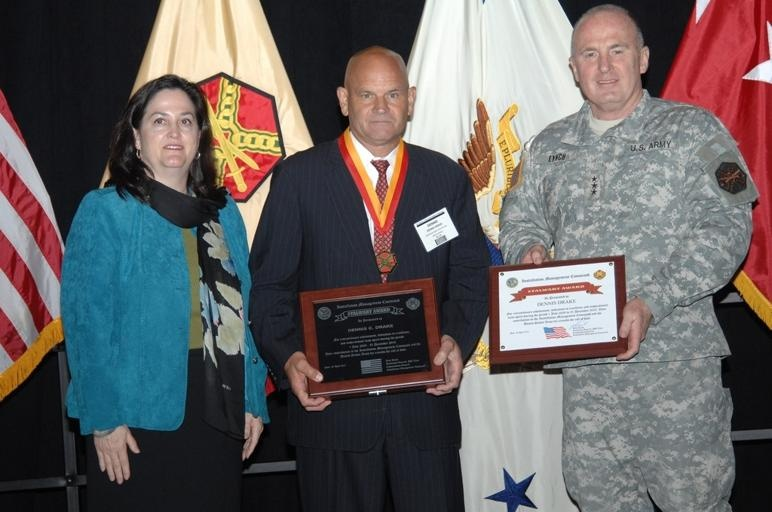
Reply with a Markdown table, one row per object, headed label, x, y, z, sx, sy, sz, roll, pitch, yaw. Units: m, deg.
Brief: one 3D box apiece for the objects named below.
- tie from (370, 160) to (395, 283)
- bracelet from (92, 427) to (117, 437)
| label | x | y | z | sx | sy | sz | roll | pitch | yaw |
| --- | --- | --- | --- | --- | --- | --- | --- | --- | --- |
| tie | -0.007 | -0.207 | 3.469 | 0.143 | 0.510 | 0.071 | 4 | -14 | 0 |
| bracelet | -1.328 | 0.842 | 3.341 | 0.101 | 0.031 | 0.029 | -5 | -1 | 6 |
